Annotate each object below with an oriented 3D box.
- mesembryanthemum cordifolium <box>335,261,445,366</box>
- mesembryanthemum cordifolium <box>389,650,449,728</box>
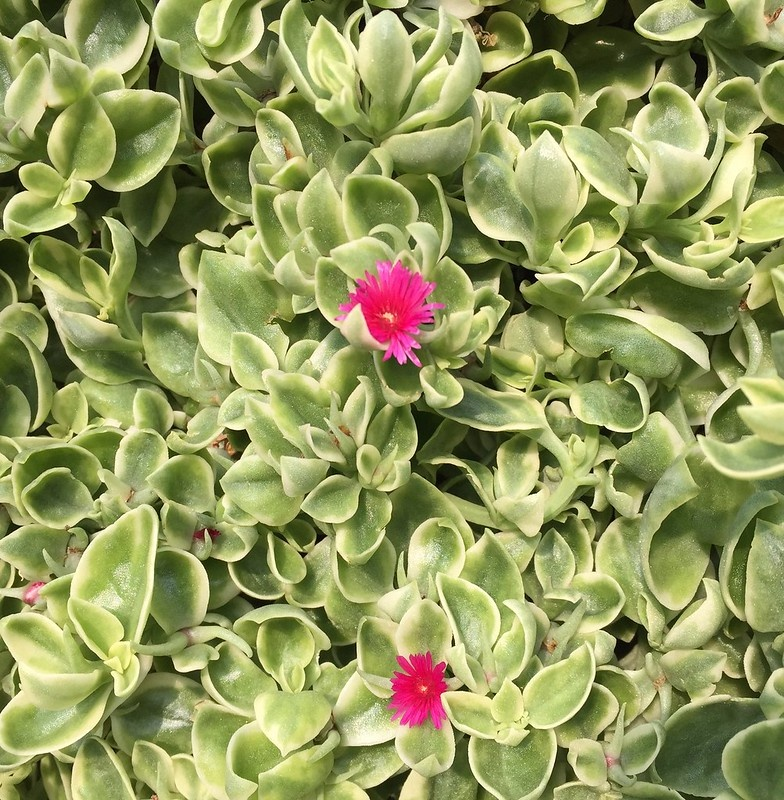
[{"bbox_3d":[0.000,-0.045,0.465,0.049,0.021,0.043,-39,92,12],"label":"mesembryanthemum cordifolium"},{"bbox_3d":[0.013,0.142,0.461,0.026,0.014,0.037,1,82,4],"label":"mesembryanthemum cordifolium"}]
